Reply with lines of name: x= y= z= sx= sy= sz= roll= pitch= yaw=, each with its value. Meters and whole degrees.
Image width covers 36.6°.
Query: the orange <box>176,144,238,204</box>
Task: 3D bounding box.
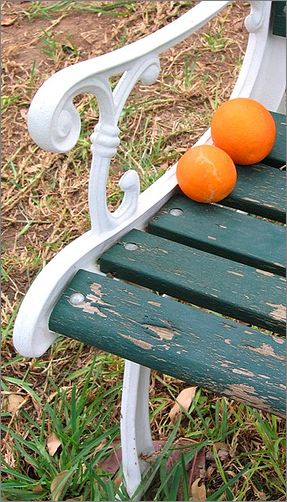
orange: x=0.103 y=-0.127 z=0.763 sx=0.101 sy=0.094 sz=0.094 roll=11 pitch=81 yaw=-11
